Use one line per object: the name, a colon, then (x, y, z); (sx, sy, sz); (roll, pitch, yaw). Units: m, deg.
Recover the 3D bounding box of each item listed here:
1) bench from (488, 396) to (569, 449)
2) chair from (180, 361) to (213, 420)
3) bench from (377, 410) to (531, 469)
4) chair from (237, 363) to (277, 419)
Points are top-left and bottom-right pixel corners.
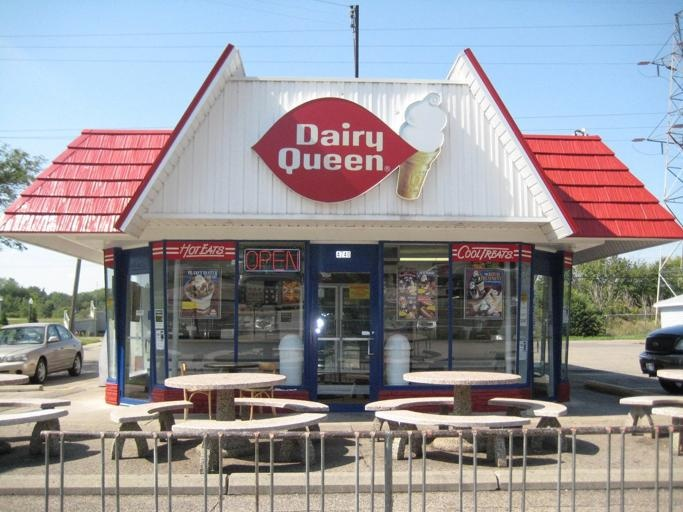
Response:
bench: (3.788, 3.088, 17.431); (0.876, 0.673, 1.291); (3, -6, -23)
chair: (-3.035, 2.891, 19.149); (0.717, 1.309, 0.692); (2, -3, 0)
bench: (1.908, 3.320, 15.844); (2.892, 1.049, 2.779); (0, -4, 1)
chair: (-1.689, 2.850, 19.187); (0.603, 1.240, 0.619); (-2, -7, 16)
